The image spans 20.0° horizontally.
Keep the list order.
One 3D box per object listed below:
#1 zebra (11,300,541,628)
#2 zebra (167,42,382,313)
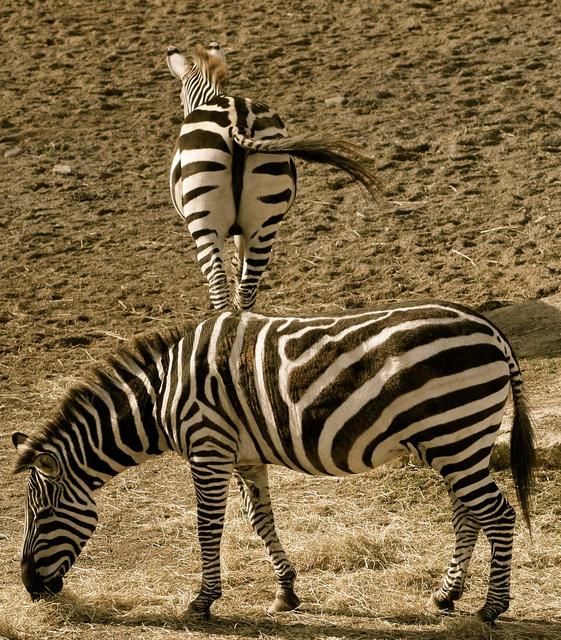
[{"bbox_3d":[-0.019,1.018,10.440,3.412,2.185,0.994,-3,9,3],"label":"zebra"},{"bbox_3d":[-0.344,-0.988,12.235,0.937,2.394,3.672,-5,7,-14],"label":"zebra"}]
